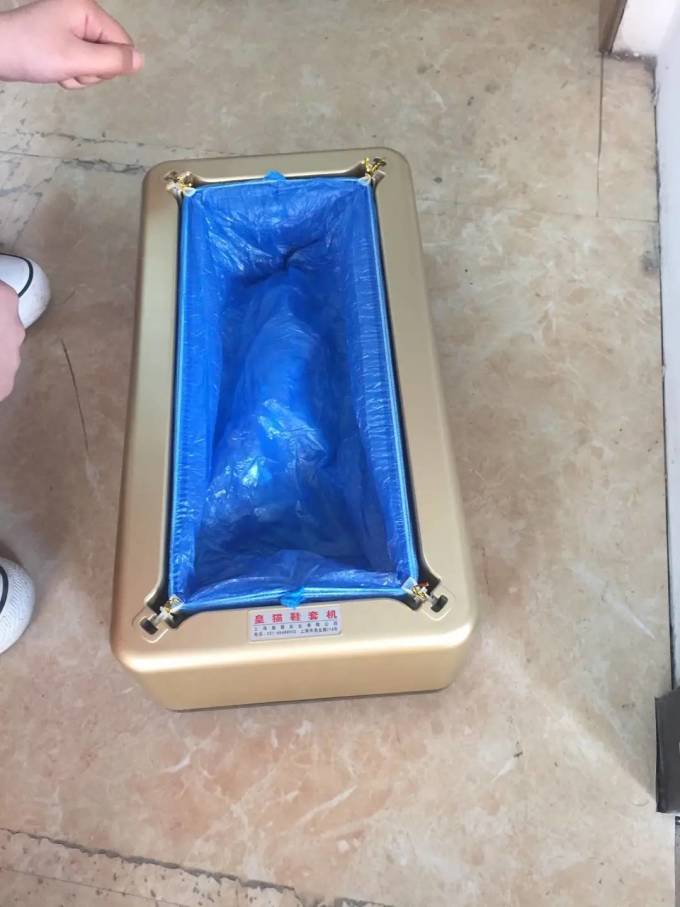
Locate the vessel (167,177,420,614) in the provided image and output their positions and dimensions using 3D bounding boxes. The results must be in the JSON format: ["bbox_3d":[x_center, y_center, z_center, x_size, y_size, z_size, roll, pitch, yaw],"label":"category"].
[{"bbox_3d":[-0.098,-0.097,1.531,0.391,0.263,0.758,-3,74,-2],"label":"vessel"}]

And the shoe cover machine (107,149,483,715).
[{"bbox_3d":[-0.097,-0.083,1.561,0.511,0.298,0.927,-4,69,-3],"label":"shoe cover machine"}]
